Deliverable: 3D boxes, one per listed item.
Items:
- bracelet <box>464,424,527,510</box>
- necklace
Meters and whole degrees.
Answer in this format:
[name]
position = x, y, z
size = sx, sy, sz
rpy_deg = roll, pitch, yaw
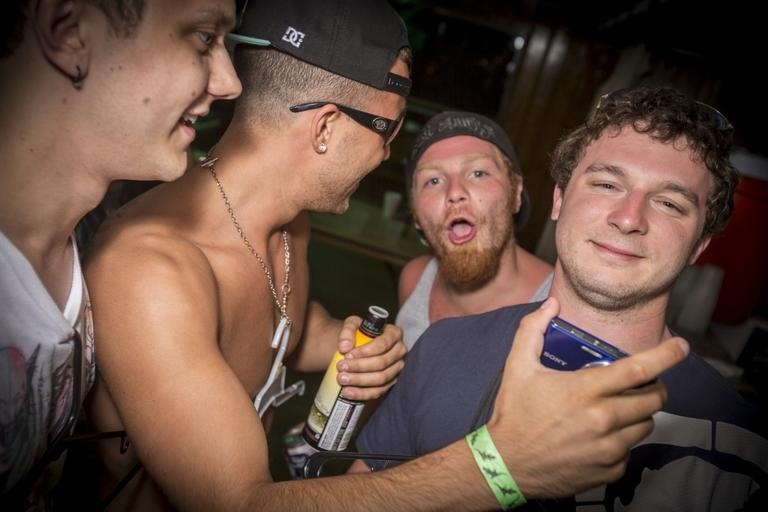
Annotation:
[bracelet]
position = 0.399, 0.800, 2.384
size = 0.255, 0.064, 0.279
rpy_deg = 51, 13, -28
[necklace]
position = -0.613, -0.073, 2.893
size = 0.168, 0.767, 0.341
rpy_deg = -26, 4, 46
